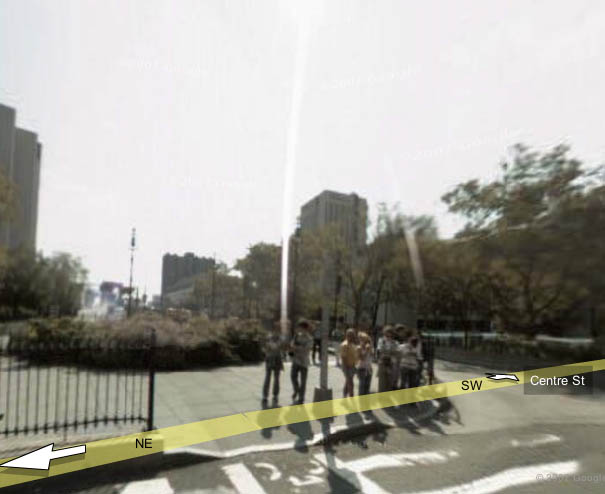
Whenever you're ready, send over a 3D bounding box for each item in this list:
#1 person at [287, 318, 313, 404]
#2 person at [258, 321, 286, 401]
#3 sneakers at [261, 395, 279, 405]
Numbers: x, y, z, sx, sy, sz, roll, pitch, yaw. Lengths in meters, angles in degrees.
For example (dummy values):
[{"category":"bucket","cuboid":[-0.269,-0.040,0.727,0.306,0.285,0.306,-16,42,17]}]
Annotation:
[{"category":"person","cuboid":[-0.064,2.462,8.978,0.448,1.735,0.585,4,3,-1]},{"category":"person","cuboid":[-0.628,2.548,8.874,0.403,1.475,0.802,4,3,-3]},{"category":"sneakers","cuboid":[-0.658,3.198,8.718,0.363,0.176,0.138,5,3,-17]}]
